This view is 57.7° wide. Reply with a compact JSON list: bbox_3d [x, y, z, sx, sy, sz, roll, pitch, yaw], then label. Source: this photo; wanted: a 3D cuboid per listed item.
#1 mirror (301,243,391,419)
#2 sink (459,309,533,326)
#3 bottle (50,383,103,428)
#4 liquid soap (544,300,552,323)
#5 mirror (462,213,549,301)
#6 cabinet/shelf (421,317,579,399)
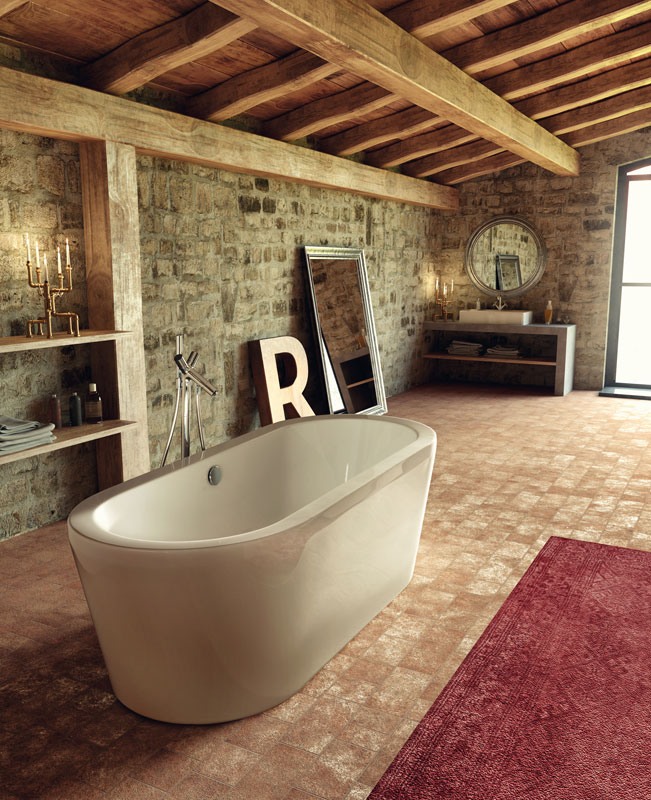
[{"bbox_3d":[0.212,-0.660,5.589,0.277,1.657,1.114,3,7,33],"label":"mirror"},{"bbox_3d":[2.051,-1.027,7.237,0.849,0.225,0.483,2,5,18],"label":"sink"},{"bbox_3d":[-1.332,0.035,3.148,0.084,0.199,0.237,5,7,37],"label":"bottle"},{"bbox_3d":[2.687,-1.074,7.144,0.095,0.287,0.292,2,6,20],"label":"liquid soap"},{"bbox_3d":[2.281,-1.821,7.378,1.245,1.244,0.149,-1,6,33],"label":"mirror"},{"bbox_3d":[2.133,-0.542,7.440,1.741,0.786,0.542,6,10,26],"label":"cabinet/shelf"}]
